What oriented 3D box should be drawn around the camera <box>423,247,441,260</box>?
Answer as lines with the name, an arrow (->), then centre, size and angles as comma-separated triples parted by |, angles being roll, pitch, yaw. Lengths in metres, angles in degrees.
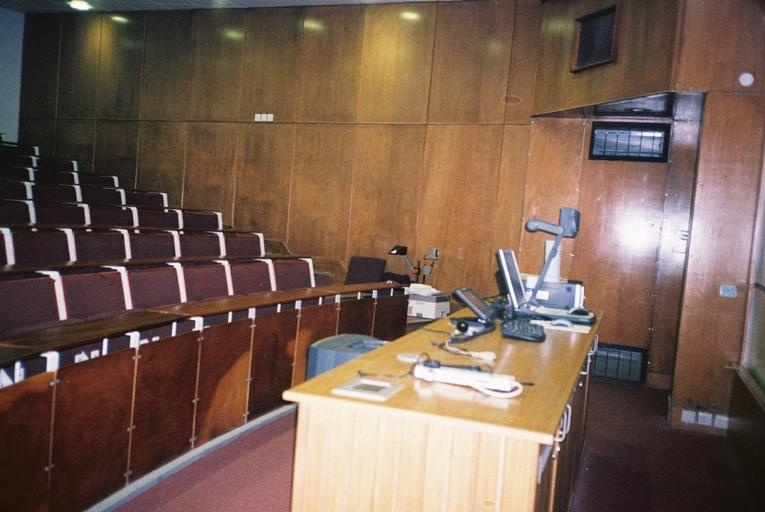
camera -> 0.656, -0.038, 7.426 | 0.167, 0.103, 0.160 | 1, 4, 0

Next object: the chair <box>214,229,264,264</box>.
chair -> -1.617, -0.104, 6.514 | 0.199, 0.367, 0.398 | -14, -11, 31

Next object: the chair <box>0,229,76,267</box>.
chair -> -2.783, -0.066, 4.620 | 0.161, 0.192, 0.302 | -16, -5, 28

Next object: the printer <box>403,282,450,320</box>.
printer -> 0.538, 0.537, 7.060 | 0.446, 0.308, 0.487 | 3, 4, 24

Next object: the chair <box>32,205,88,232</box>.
chair -> -3.278, -0.433, 5.909 | 0.295, 0.258, 0.513 | 2, 13, -3

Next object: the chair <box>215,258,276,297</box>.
chair -> -1.256, 0.199, 5.411 | 0.317, 0.411, 0.442 | -13, -7, 28

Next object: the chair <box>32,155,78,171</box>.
chair -> -5.095, -1.447, 8.989 | 0.112, 0.157, 0.627 | -22, -3, 17

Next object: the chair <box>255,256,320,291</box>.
chair -> -0.984, 0.204, 5.966 | 0.398, 0.496, 0.389 | 5, -6, -38

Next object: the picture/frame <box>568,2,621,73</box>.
picture/frame -> 2.176, -2.216, 5.903 | 0.182, 0.605, 0.598 | -3, 14, -18

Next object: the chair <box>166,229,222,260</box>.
chair -> -1.971, -0.124, 6.178 | 0.401, 0.471, 0.369 | 0, -2, 29

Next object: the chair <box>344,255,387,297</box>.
chair -> -0.212, 0.185, 7.549 | 0.644, 0.525, 0.339 | 4, -11, 35

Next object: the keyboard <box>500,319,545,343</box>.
keyboard -> 0.906, 0.480, 3.713 | 0.190, 0.052, 0.163 | 4, 11, 11

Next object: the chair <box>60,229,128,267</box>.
chair -> -2.509, -0.073, 4.976 | 0.171, 0.261, 0.325 | -12, -2, 23

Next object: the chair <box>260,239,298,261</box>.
chair -> -1.431, -0.093, 7.908 | 0.630, 0.321, 0.541 | 1, 2, 9
